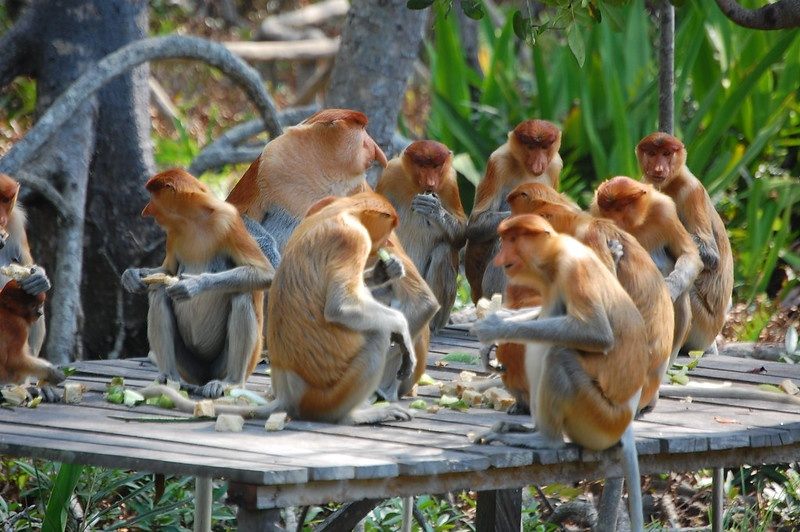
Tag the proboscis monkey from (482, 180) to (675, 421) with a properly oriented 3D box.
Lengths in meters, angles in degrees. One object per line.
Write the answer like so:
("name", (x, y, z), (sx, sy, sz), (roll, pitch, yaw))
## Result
("proboscis monkey", (1.238, 0.279, 6.513), (1.172, 1.231, 0.817), (1, -10, -8))
